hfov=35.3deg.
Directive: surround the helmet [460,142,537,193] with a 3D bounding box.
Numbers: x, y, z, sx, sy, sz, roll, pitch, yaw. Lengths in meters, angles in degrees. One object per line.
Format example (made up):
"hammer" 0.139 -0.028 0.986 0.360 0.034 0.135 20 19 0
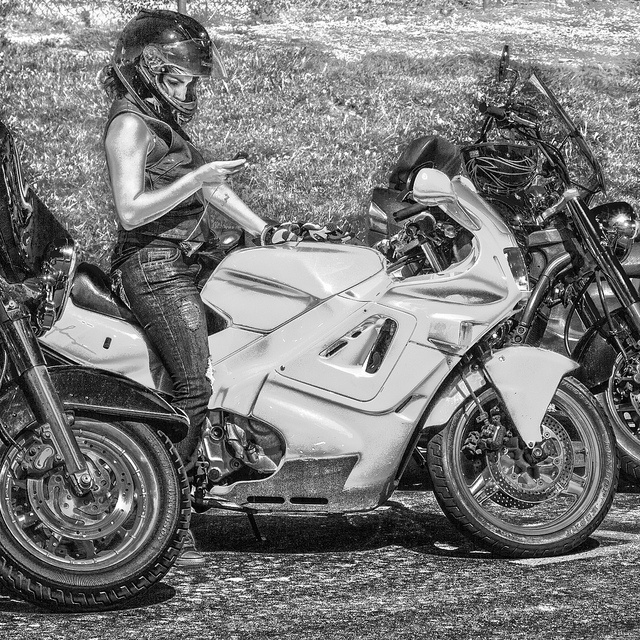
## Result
"helmet" 1.045 -0.854 5.853 0.325 0.223 0.311 2 6 37
